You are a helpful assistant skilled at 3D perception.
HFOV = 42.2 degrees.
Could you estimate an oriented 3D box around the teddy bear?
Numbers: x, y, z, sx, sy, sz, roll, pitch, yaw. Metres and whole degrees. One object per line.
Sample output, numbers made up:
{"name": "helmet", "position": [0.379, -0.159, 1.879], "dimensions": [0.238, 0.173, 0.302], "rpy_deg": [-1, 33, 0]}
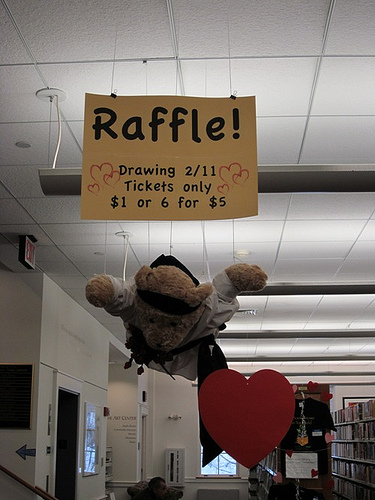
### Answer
{"name": "teddy bear", "position": [-0.070, 0.268, 1.905], "dimensions": [0.657, 0.464, 0.618], "rpy_deg": [3, -17, -13]}
